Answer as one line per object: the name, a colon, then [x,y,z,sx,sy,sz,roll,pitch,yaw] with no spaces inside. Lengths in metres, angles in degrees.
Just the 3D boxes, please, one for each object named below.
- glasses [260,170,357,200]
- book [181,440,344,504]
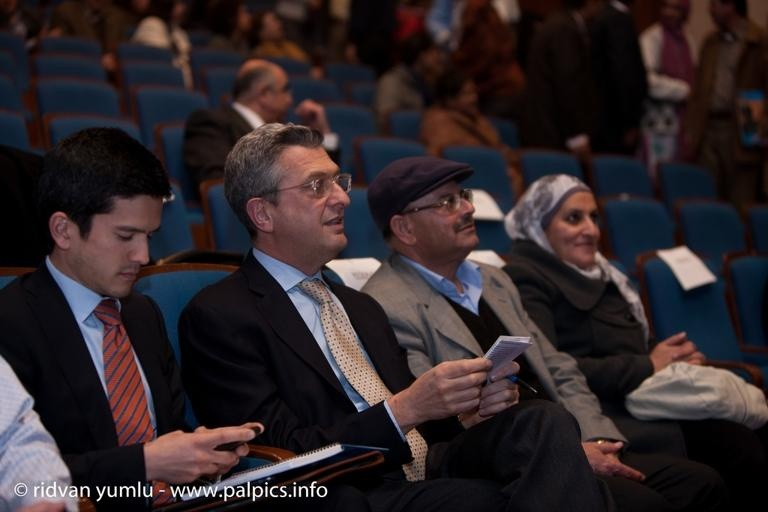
glasses: [-0.262,-0.311,2.967,0.181,0.055,0.176,-22,-15,29]
book: [-0.404,0.729,2.284,0.651,0.069,0.525,-8,-7,-22]
